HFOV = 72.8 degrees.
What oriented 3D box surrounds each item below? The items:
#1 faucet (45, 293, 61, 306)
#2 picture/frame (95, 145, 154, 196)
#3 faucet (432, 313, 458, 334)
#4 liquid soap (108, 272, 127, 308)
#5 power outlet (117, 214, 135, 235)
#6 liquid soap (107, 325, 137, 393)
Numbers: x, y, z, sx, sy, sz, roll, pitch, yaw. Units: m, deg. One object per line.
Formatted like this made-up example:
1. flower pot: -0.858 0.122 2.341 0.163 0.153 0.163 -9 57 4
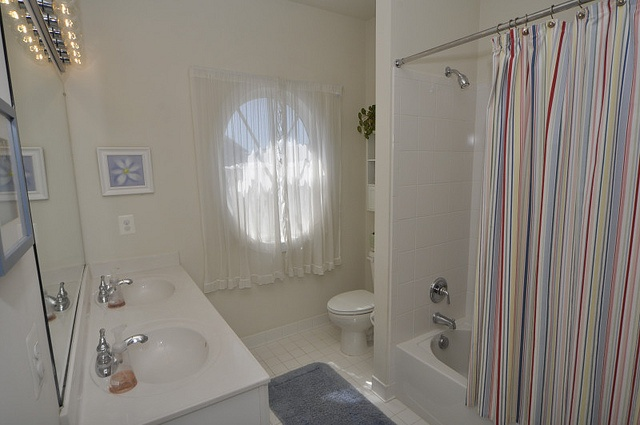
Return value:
1. faucet: -1.137 0.372 1.851 0.030 0.027 0.110 -2 4 -14
2. picture/frame: -1.421 -0.310 3.107 0.331 0.355 0.029 -5 10 -35
3. faucet: 0.924 0.823 3.235 0.107 0.100 0.184 -1 2 -34
4. liquid soap: -1.279 0.514 2.687 0.095 0.136 0.212 -14 13 -30
5. power outlet: -1.419 0.086 3.155 0.131 0.191 0.025 -5 10 -41
6. liquid soap: -0.972 0.710 2.088 0.121 0.220 0.285 -13 13 -26
